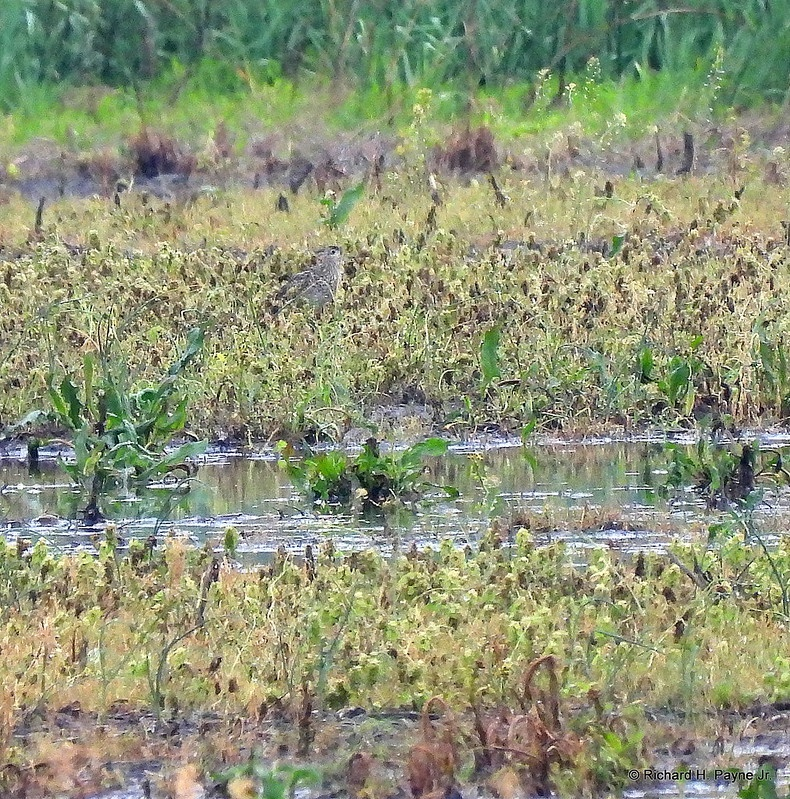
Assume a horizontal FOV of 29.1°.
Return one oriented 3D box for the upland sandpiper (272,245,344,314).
[{"bbox_3d":[-0.577,-0.784,10.047,0.425,0.658,0.647,0,69,1],"label":"upland sandpiper"}]
